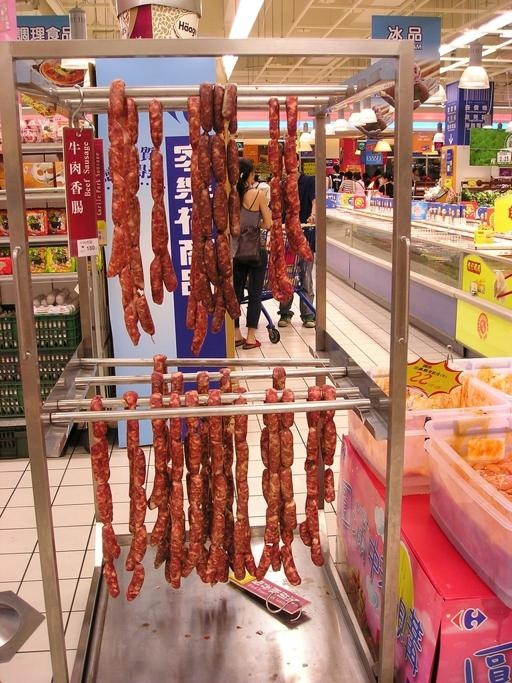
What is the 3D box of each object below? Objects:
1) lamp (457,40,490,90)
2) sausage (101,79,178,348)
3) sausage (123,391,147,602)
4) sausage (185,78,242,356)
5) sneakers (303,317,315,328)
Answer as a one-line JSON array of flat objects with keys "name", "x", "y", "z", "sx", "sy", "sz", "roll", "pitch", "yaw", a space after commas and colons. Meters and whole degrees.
[{"name": "lamp", "x": 3.310, "y": -4.117, "z": 7.222, "sx": 0.325, "sy": 0.681, "sz": 0.366, "roll": 4, "pitch": 6, "yaw": -22}, {"name": "sausage", "x": -0.311, "y": -0.316, "z": 1.230, "sx": 0.150, "sy": 0.647, "sz": 0.076, "roll": -9, "pitch": 15, "yaw": -26}, {"name": "sausage", "x": -0.365, "y": 0.459, "z": 1.432, "sx": 0.057, "sy": 0.759, "sz": 0.084, "roll": 1, "pitch": 0, "yaw": 35}, {"name": "sausage", "x": -0.106, "y": -0.299, "z": 1.276, "sx": 0.146, "sy": 0.692, "sz": 0.130, "roll": -11, "pitch": 21, "yaw": -42}, {"name": "sneakers", "x": 0.771, "y": -0.283, "z": 6.861, "sx": 0.127, "sy": 0.211, "sz": 0.439, "roll": 0, "pitch": 4, "yaw": -4}]
